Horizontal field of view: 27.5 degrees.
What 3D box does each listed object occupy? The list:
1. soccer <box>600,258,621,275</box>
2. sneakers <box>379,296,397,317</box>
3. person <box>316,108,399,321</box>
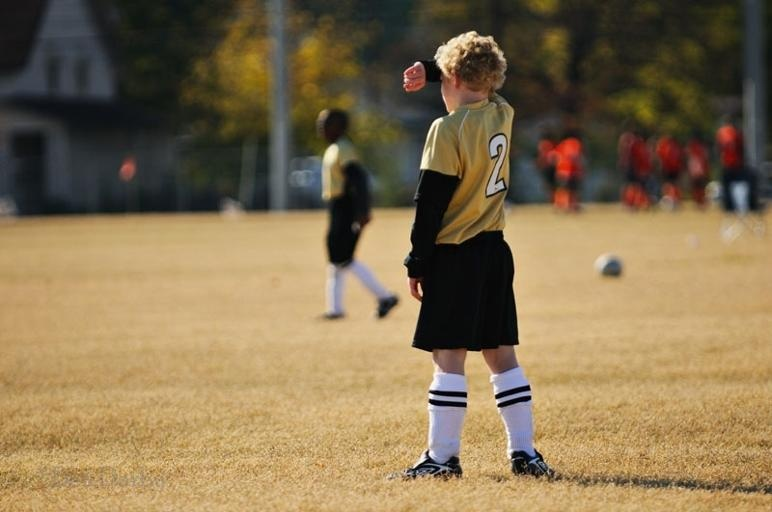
[{"bbox_3d":[3.652,0.184,25.412,0.213,0.297,0.084,2,-9,11],"label":"soccer"},{"bbox_3d":[0.018,0.725,22.955,0.177,0.158,0.447,17,-36,-12],"label":"sneakers"},{"bbox_3d":[-0.497,-0.587,22.737,0.974,3.021,0.497,0,3,-8],"label":"person"}]
